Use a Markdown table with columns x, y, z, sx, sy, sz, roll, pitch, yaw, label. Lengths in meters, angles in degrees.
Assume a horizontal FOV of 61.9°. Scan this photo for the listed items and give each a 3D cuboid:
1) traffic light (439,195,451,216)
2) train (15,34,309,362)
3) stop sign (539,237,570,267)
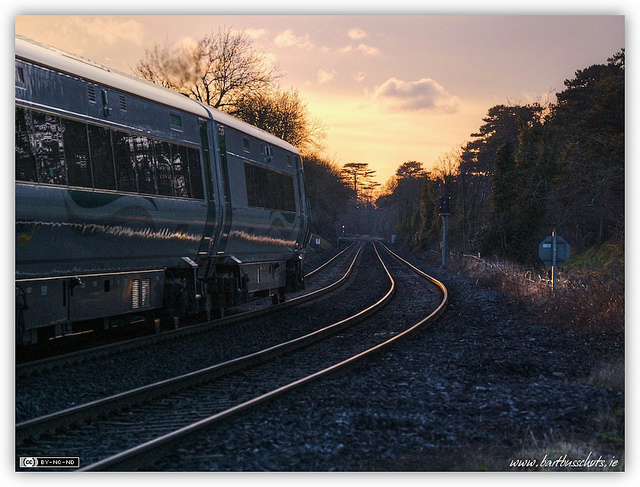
| x | y | z | sx | sy | sz | roll | pitch | yaw | label |
| --- | --- | --- | --- | --- | --- | --- | --- | --- | --- |
| 8.226 | -2.439 | 34.994 | 0.559 | 1.228 | 1.844 | 2 | 6 | 17 | traffic light |
| -3.116 | -0.766 | 11.925 | 1.433 | 5.543 | 8.079 | 4 | 6 | 31 | train |
| 7.018 | 0.271 | 15.934 | 0.847 | 1.142 | 0.189 | 0 | 23 | 24 | stop sign |
